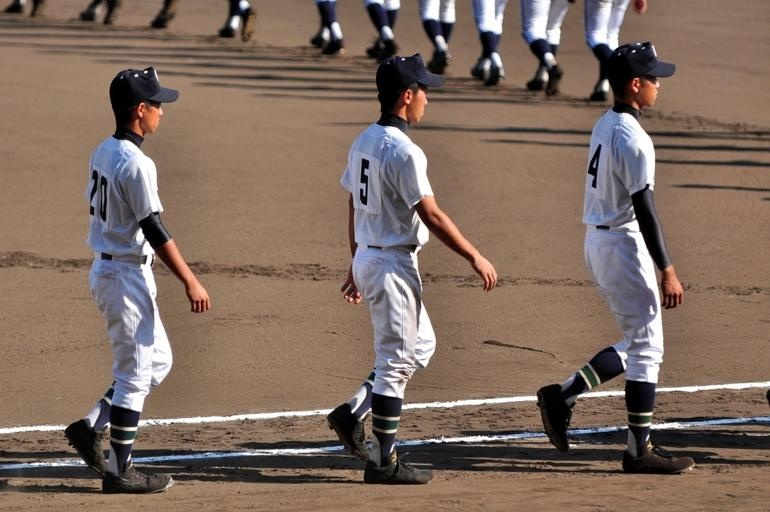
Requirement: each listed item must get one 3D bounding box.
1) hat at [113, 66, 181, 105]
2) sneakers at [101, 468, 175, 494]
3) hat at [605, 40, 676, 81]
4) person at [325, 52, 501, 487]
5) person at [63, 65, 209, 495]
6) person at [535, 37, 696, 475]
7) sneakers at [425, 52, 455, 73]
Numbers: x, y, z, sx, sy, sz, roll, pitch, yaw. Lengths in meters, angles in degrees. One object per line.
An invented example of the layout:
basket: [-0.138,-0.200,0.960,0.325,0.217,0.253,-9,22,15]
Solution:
hat: [-2.316,-1.654,15.349,0.591,0.262,0.352,-2,21,-17]
sneakers: [-2.398,2.164,15.336,0.721,0.247,0.242,-1,1,-6]
hat: [2.521,-1.932,15.679,0.604,0.259,0.361,-1,15,-7]
person: [0.087,0.095,15.469,1.294,4.067,1.156,0,13,-2]
person: [-2.367,0.219,15.260,0.930,3.974,1.006,-2,13,-10]
person: [2.380,-0.007,15.619,1.388,4.107,1.159,1,13,4]
sneakers: [0.856,-3.090,25.202,0.266,0.276,0.685,7,6,-4]
